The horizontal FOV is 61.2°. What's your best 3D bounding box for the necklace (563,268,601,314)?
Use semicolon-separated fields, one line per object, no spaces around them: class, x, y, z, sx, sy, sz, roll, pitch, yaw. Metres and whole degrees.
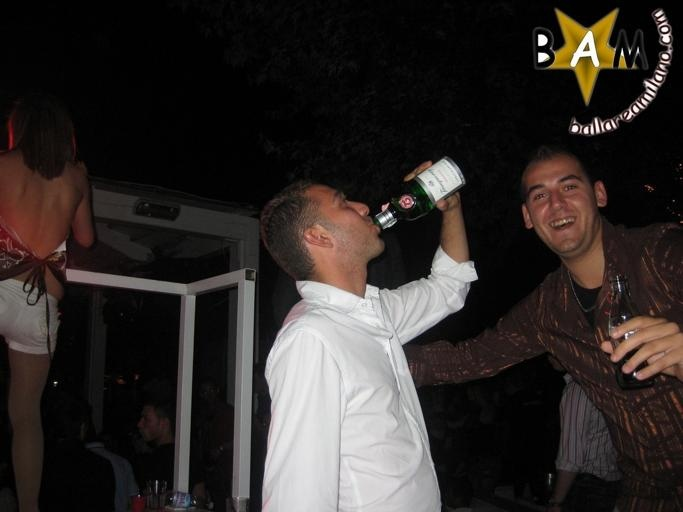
necklace;1.462;0.213;3.441;0.150;0.218;0.052;-15;-15;33
